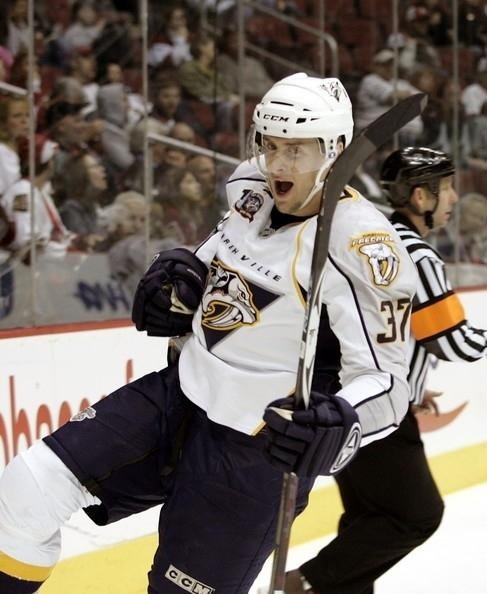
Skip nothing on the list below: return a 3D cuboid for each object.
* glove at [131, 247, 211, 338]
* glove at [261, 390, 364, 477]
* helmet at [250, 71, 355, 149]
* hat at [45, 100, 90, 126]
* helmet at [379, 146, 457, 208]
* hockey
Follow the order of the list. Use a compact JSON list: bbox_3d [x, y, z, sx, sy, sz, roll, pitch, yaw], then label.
[{"bbox_3d":[-0.163,0.007,2.098,0.094,0.206,0.174,20,12,-43],"label":"glove"},{"bbox_3d":[0.137,0.254,1.652,0.145,0.109,0.183,18,-21,21],"label":"glove"},{"bbox_3d":[0.166,-0.425,1.975,0.175,0.193,0.214,5,15,26],"label":"helmet"},{"bbox_3d":[-0.613,-0.636,2.968,0.048,0.089,0.160,-13,19,31],"label":"hat"},{"bbox_3d":[0.499,-0.389,2.647,0.217,0.188,0.157,-21,23,5],"label":"helmet"},{"bbox_3d":[0.173,0.116,1.772,0.173,1.062,0.357,12,16,28],"label":"hockey"}]
